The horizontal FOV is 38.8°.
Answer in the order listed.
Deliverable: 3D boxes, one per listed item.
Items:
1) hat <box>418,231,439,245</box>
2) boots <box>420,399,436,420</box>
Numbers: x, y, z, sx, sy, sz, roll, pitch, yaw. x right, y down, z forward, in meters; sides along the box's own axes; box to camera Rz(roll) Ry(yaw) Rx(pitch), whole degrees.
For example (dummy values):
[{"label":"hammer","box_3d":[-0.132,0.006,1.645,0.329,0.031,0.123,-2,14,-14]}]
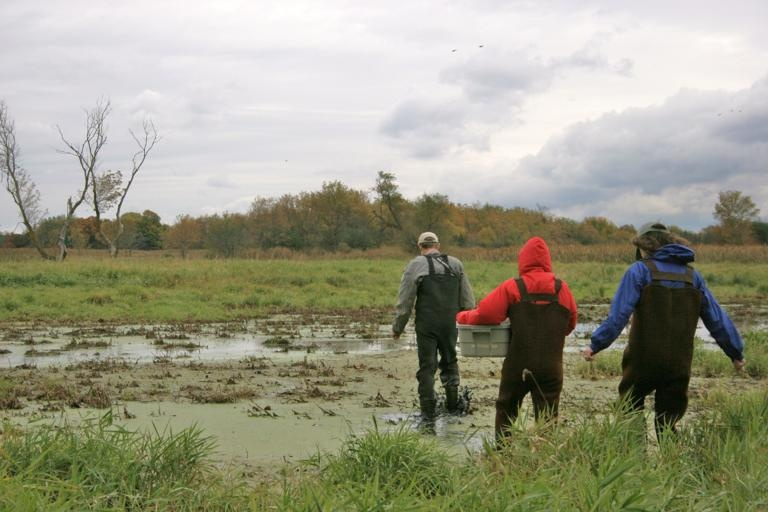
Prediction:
[{"label":"hat","box_3d":[1.006,-0.433,24.790,0.358,0.244,0.505,-2,-15,4]},{"label":"boots","box_3d":[0.975,3.401,24.150,0.402,0.425,0.383,-1,-4,35]}]
